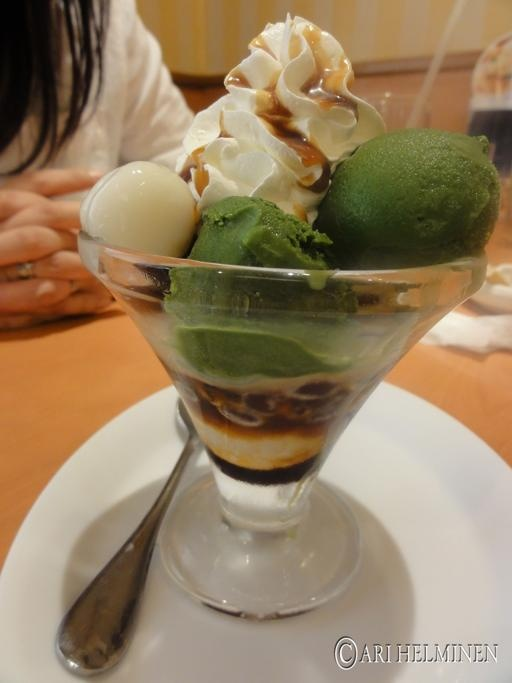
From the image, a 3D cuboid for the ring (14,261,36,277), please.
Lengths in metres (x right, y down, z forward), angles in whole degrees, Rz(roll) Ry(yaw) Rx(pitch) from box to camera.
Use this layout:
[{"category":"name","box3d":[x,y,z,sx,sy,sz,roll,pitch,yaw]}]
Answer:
[{"category":"ring","box3d":[-0.582,-0.176,1.642,0.041,0.032,0.020,-2,9,-4]}]

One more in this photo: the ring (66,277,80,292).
[{"category":"ring","box3d":[-0.459,-0.143,1.654,0.029,0.009,0.033,1,43,-16]}]

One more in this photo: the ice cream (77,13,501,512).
[{"category":"ice cream","box3d":[0.047,-0.026,0.943,0.458,0.757,0.448,1,14,-5]}]
